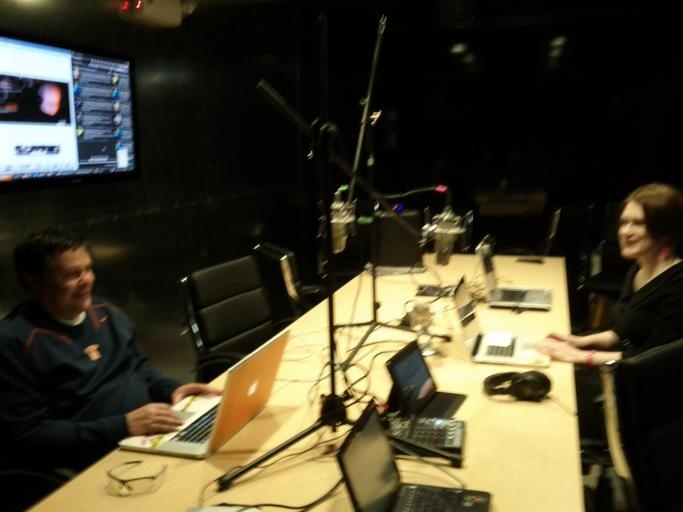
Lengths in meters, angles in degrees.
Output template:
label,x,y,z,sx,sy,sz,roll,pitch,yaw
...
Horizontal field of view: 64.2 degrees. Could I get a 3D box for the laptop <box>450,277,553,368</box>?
label,x,y,z,sx,sy,sz,roll,pitch,yaw
laptop,0.754,0.313,2.643,0.378,0.264,0.342,0,16,17

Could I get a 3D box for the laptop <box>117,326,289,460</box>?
label,x,y,z,sx,sy,sz,roll,pitch,yaw
laptop,-0.533,0.514,2.117,0.492,0.310,0.508,3,13,20

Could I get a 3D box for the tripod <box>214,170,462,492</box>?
label,x,y,z,sx,sy,sz,roll,pitch,yaw
tripod,-0.050,0.329,2.876,0.843,1.248,1.278,8,25,21

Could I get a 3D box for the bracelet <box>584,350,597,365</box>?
label,x,y,z,sx,sy,sz,roll,pitch,yaw
bracelet,1.170,0.475,2.558,0.020,0.061,0.058,2,-3,4

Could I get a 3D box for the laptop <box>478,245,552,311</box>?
label,x,y,z,sx,sy,sz,roll,pitch,yaw
laptop,1.054,0.163,3.332,0.392,0.309,0.436,1,14,19

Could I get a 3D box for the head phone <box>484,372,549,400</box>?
label,x,y,z,sx,sy,sz,roll,pitch,yaw
head phone,0.745,0.525,2.304,0.184,0.079,0.137,-4,3,16
